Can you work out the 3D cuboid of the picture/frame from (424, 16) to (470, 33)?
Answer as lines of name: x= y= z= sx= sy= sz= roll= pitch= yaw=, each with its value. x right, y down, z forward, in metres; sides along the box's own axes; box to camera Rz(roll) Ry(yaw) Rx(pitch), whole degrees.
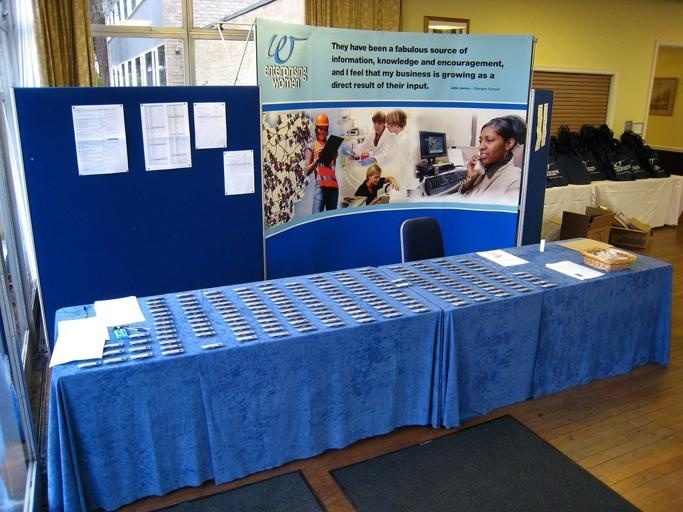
picture/frame: x=1.446 y=-3.190 z=6.712 sx=0.851 sy=0.199 sz=0.087 roll=-13 pitch=23 yaw=-31

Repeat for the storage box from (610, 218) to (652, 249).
storage box: x=4.026 y=-0.394 z=6.858 sx=0.464 sy=0.288 sz=0.471 roll=0 pitch=18 yaw=3

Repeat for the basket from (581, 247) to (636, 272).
basket: x=2.096 y=0.019 z=3.762 sx=0.277 sy=0.100 sz=0.220 roll=-8 pitch=19 yaw=-28

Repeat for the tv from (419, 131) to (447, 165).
tv: x=0.965 y=-1.172 z=5.208 sx=0.304 sy=0.308 sz=0.080 roll=-8 pitch=16 yaw=-16
